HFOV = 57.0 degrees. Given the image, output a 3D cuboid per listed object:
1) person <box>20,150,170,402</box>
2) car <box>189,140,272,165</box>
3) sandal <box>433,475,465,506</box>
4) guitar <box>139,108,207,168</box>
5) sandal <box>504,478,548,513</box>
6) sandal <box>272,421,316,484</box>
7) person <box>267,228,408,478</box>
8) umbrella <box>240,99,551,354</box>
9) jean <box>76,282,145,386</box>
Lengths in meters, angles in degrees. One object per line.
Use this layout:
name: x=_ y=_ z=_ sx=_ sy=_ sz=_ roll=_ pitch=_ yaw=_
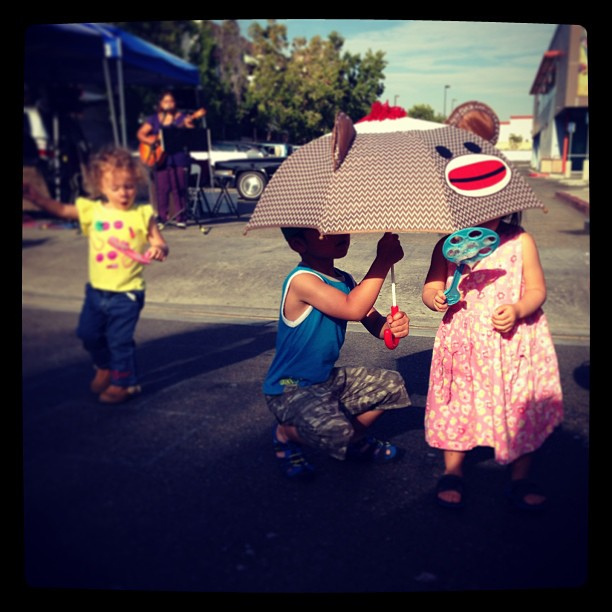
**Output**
person: x=-1.052 y=-0.161 z=3.111 sx=0.589 sy=1.346 sz=0.325 roll=-2 pitch=13 yaw=-1
car: x=-1.982 y=-3.874 z=14.158 sx=2.223 sy=0.674 sz=1.052 roll=6 pitch=24 yaw=0
sandal: x=0.558 y=0.710 z=2.186 sx=0.116 sy=0.097 sz=0.076 roll=1 pitch=13 yaw=14
guitar: x=-2.194 y=-2.628 z=8.973 sx=0.888 sy=0.822 sz=0.488 roll=-6 pitch=13 yaw=-17
sandal: x=0.859 y=0.743 z=2.220 sx=0.090 sy=0.046 sz=0.127 roll=-8 pitch=33 yaw=6
sandal: x=-0.056 y=0.643 z=2.491 sx=0.105 sy=0.133 sz=0.289 roll=-20 pitch=41 yaw=-17
person: x=0.132 y=0.130 z=2.292 sx=0.567 sy=1.095 sz=0.527 roll=1 pitch=2 yaw=4
umbrella: x=0.345 y=-0.295 z=2.260 sx=1.023 sy=0.940 sz=1.084 roll=-17 pitch=21 yaw=-33
jean: x=-1.075 y=0.167 z=3.171 sx=0.382 sy=0.637 sz=0.229 roll=4 pitch=14 yaw=26
